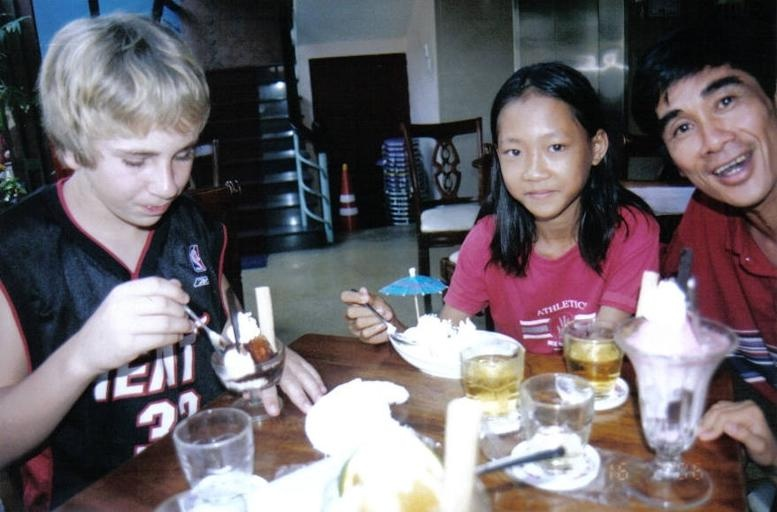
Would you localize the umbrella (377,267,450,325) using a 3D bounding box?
[{"bbox_3d":[0.150,0.240,3.354,0.333,0.275,0.322,-11,16,-4],"label":"umbrella"}]

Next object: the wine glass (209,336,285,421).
[{"bbox_3d":[-0.408,0.356,1.790,0.248,0.194,0.222,-1,22,-2],"label":"wine glass"}]

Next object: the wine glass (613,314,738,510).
[{"bbox_3d":[0.724,0.376,1.454,0.272,0.413,0.293,-2,14,29],"label":"wine glass"}]
